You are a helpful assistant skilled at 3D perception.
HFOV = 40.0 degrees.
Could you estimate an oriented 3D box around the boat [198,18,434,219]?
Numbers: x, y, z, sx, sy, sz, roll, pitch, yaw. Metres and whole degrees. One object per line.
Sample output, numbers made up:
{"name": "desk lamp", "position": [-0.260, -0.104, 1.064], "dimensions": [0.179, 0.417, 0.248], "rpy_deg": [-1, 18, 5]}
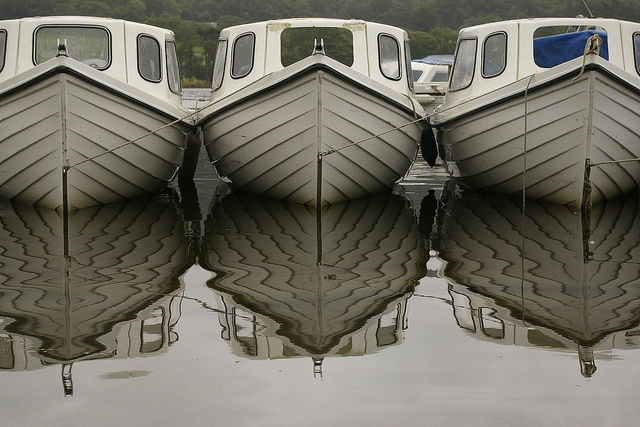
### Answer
{"name": "boat", "position": [-0.306, -2.433, 17.508], "dimensions": [4.313, 2.590, 6.998], "rpy_deg": [0, 15, -3]}

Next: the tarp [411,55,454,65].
{"name": "tarp", "position": [3.039, -4.163, 23.619], "dimensions": [1.197, 0.208, 1.024], "rpy_deg": [-1, 10, -2]}

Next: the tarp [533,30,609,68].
{"name": "tarp", "position": [4.359, -2.938, 15.504], "dimensions": [1.035, 0.328, 0.888], "rpy_deg": [-7, 12, -19]}
